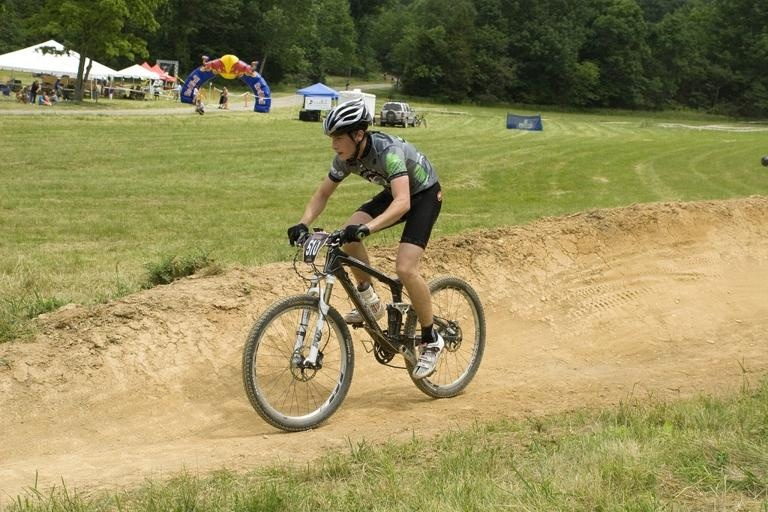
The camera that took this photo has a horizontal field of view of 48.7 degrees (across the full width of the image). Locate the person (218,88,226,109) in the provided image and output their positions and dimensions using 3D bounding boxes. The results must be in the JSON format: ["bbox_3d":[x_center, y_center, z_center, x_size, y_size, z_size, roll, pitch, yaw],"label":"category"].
[{"bbox_3d":[-10.699,-10.529,56.557,0.494,1.219,1.828,1,16,-11],"label":"person"}]

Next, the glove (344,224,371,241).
[{"bbox_3d":[-0.443,-0.338,13.657,0.340,0.157,0.260,-12,30,10],"label":"glove"}]

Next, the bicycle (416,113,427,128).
[{"bbox_3d":[2.479,-9.116,56.781,0.786,0.972,1.596,2,8,11],"label":"bicycle"}]

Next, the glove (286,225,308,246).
[{"bbox_3d":[-1.396,-0.330,13.884,0.385,0.404,0.352,5,15,6],"label":"glove"}]

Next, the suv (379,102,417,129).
[{"bbox_3d":[1.074,-9.037,54.031,1.333,1.080,2.520,2,13,17],"label":"suv"}]
